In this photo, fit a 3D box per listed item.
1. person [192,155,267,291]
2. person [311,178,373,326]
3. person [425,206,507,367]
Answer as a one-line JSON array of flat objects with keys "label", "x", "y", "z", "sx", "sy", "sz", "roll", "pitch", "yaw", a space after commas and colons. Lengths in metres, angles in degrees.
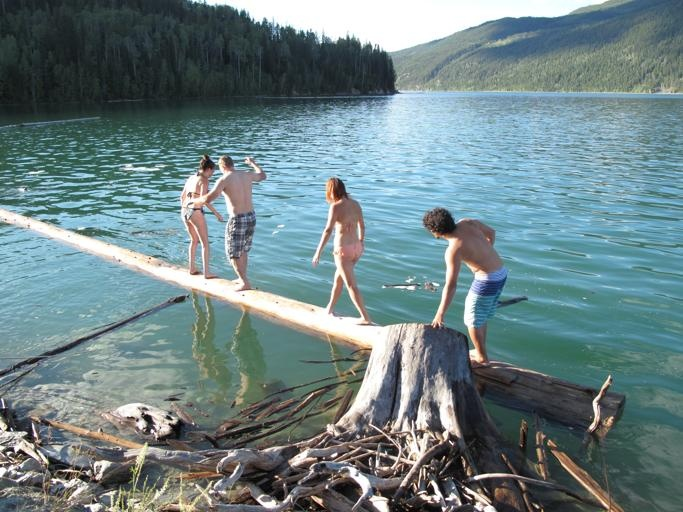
[{"label": "person", "x": -2.107, "y": -0.664, "z": 10.511, "sx": 1.033, "sy": 2.872, "sz": 1.217, "roll": -15, "pitch": 26, "yaw": -38}, {"label": "person", "x": -0.011, "y": -0.083, "z": 9.283, "sx": 0.975, "sy": 2.794, "sz": 1.176, "roll": 1, "pitch": 20, "yaw": -2}, {"label": "person", "x": 1.889, "y": 0.434, "z": 7.631, "sx": 1.286, "sy": 2.309, "sz": 1.078, "roll": -3, "pitch": 21, "yaw": -13}]
